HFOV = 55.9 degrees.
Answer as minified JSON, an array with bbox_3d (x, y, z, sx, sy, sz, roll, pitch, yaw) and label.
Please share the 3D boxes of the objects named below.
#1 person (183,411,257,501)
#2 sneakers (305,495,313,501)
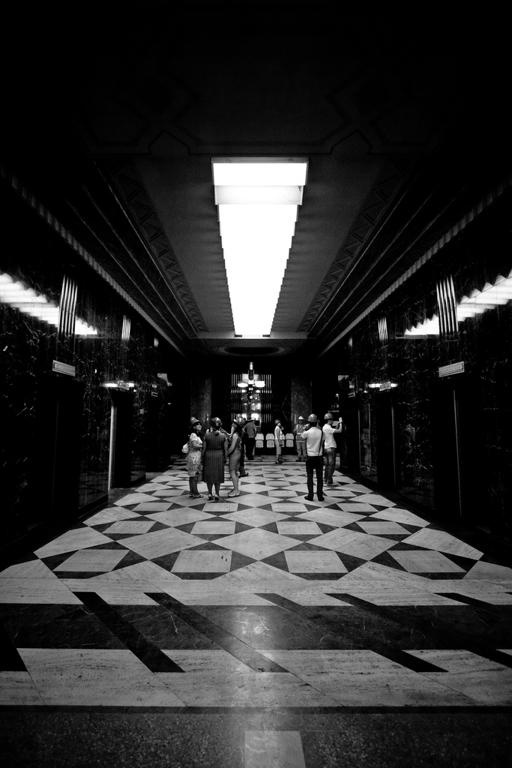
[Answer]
[{"bbox_3d":[-0.722,1.200,7.721,0.881,1.239,1.357,1,-6,-2],"label":"person"},{"bbox_3d":[0.801,1.735,7.383,0.103,0.089,0.188,0,-7,6],"label":"sneakers"}]
